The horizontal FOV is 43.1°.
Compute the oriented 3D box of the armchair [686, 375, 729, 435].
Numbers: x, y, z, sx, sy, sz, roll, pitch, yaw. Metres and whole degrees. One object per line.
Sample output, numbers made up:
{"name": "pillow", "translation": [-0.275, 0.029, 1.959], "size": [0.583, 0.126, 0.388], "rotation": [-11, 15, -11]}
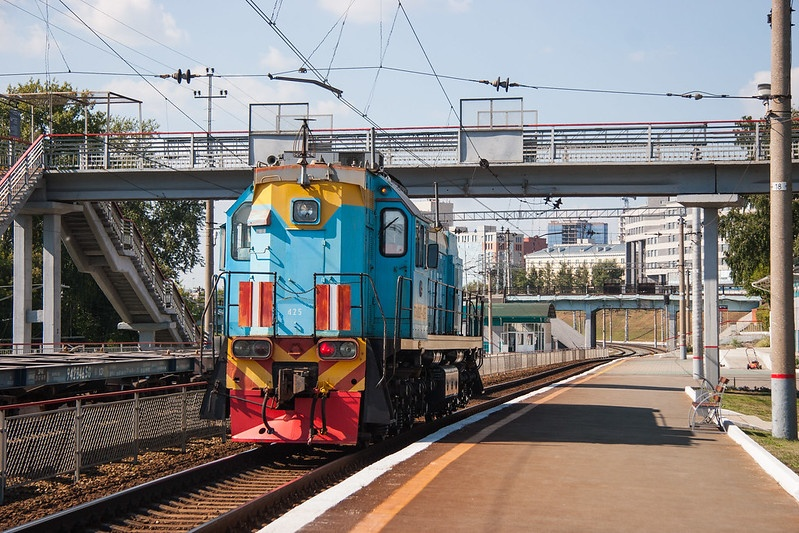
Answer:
{"name": "armchair", "translation": [9.180, 4.011, 30.054], "size": [0.973, 1.570, 1.022], "rotation": [5, -1, 19]}

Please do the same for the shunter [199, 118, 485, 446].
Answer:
{"name": "shunter", "translation": [-0.964, 0.615, 27.621], "size": [3.813, 8.430, 8.050], "rotation": [-4, -5, 39]}
